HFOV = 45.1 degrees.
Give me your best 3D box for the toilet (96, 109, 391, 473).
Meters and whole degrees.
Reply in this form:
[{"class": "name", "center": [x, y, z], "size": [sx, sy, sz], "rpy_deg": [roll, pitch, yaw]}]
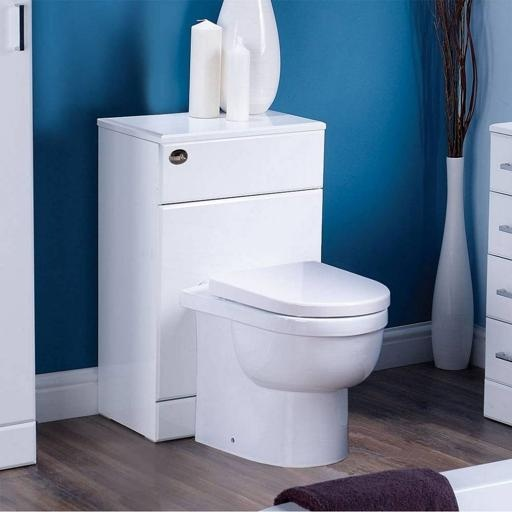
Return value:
[{"class": "toilet", "center": [-0.042, 0.065, 1.852], "size": [0.731, 0.944, 0.537], "rpy_deg": [15, 20, 38]}]
